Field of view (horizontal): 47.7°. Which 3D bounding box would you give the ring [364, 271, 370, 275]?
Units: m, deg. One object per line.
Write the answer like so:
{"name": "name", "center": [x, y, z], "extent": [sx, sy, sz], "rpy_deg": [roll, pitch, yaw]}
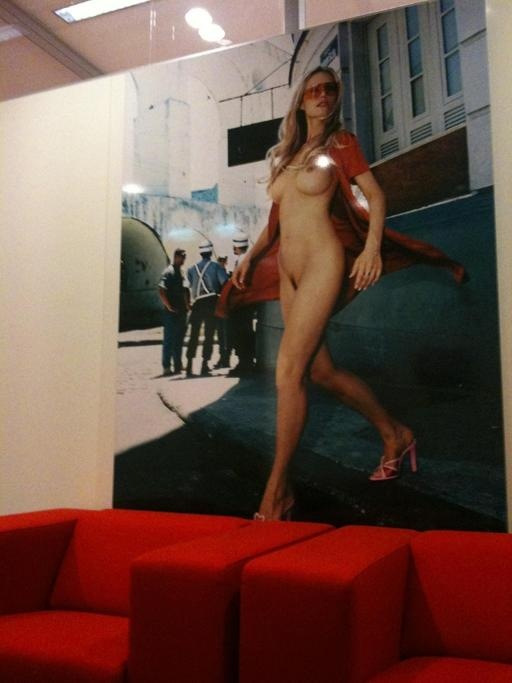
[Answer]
{"name": "ring", "center": [0.458, -0.286, 2.393], "extent": [0.016, 0.012, 0.004], "rpy_deg": [-35, -6, 11]}

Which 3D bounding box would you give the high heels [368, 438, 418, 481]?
{"name": "high heels", "center": [0.542, 0.494, 2.340], "extent": [0.202, 0.112, 0.107], "rpy_deg": [-6, -6, 8]}
